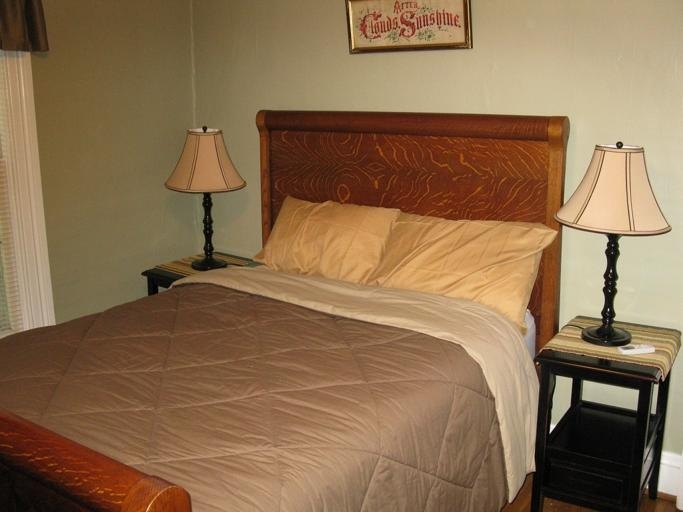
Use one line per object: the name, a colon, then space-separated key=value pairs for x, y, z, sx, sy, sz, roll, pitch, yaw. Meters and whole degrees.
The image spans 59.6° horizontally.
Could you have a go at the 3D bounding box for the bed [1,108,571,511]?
bed: x=-0.202 y=0.190 z=2.788 sx=1.526 sy=1.564 sz=1.815 roll=10 pitch=17 yaw=38

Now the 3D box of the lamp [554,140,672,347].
lamp: x=1.201 y=-0.056 z=2.685 sx=0.432 sy=0.894 sz=0.300 roll=0 pitch=16 yaw=-6
